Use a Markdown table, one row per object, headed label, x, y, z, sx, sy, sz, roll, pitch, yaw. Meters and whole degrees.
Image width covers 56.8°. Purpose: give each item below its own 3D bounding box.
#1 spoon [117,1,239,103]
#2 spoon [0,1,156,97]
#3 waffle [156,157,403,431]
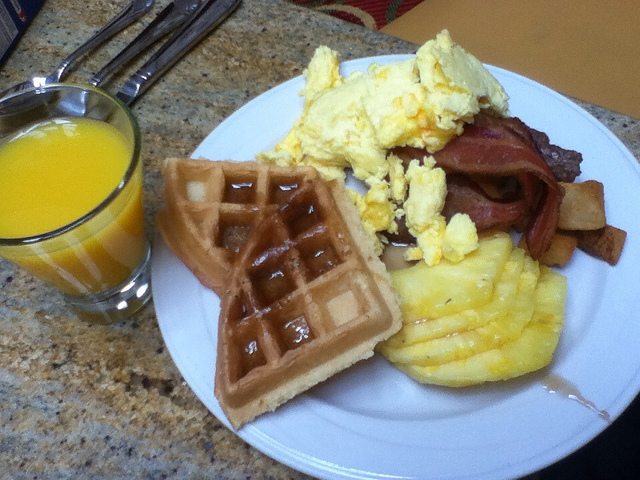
| label | x | y | z | sx | sy | sz | roll | pitch | yaw |
| --- | --- | --- | --- | --- | --- | --- | --- | --- | --- |
| spoon | -0.509 | -0.652 | 2.094 | 0.071 | 0.067 | 0.632 | 41 | 68 | -4 |
| spoon | -0.851 | -0.656 | 2.066 | 0.654 | 0.077 | 0.094 | -43 | 85 | -12 |
| waffle | -0.127 | 0.052 | 1.577 | 0.656 | 0.145 | 0.682 | -26 | 76 | -10 |
